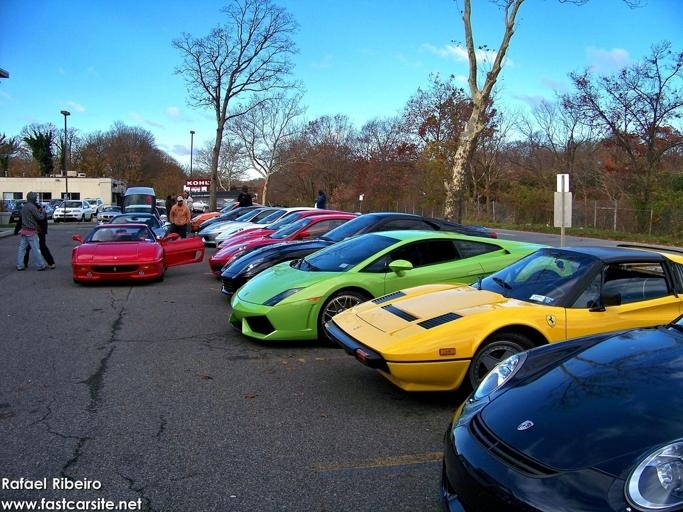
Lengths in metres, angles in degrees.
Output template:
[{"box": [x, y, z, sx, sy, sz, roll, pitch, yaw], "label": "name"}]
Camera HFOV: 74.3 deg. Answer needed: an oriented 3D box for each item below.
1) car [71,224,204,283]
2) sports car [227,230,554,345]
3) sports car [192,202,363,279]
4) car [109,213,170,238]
[{"box": [-5.446, -0.091, 11.612, 2.473, 1.428, 2.249, 1, 6, -3], "label": "car"}, {"box": [0.473, 0.310, 6.751, 3.898, 0.828, 2.015, -2, 1, -14], "label": "sports car"}, {"box": [-1.482, -0.471, 11.662, 3.724, 0.827, 1.840, -6, 3, -17], "label": "sports car"}, {"box": [-7.561, -1.330, 17.218, 1.939, 0.824, 3.116, 1, 1, -16], "label": "car"}]
